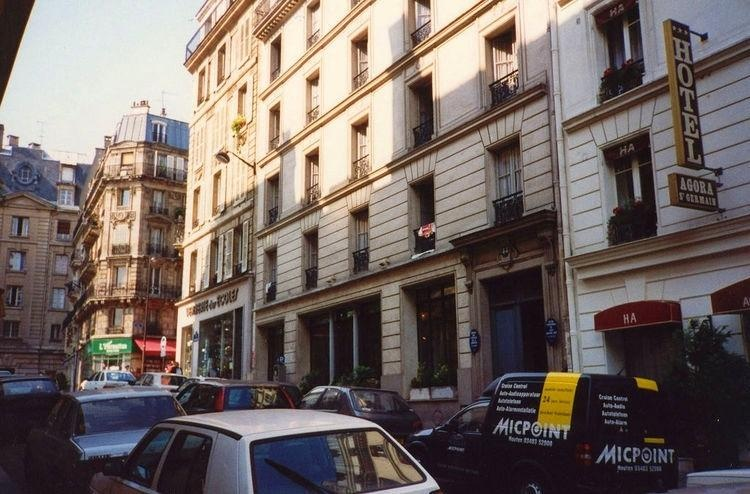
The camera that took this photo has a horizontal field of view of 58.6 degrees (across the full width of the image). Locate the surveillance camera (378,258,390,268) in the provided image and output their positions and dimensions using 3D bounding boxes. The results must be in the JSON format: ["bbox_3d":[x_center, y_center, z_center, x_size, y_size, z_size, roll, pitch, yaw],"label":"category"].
[{"bbox_3d":[0.392,0.686,27.305,0.469,0.362,0.342,-5,-15,28],"label":"surveillance camera"}]

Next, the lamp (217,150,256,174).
[{"bbox_3d":[-8.024,-4.947,38.835,2.173,1.019,0.927,21,-30,-39],"label":"lamp"}]
